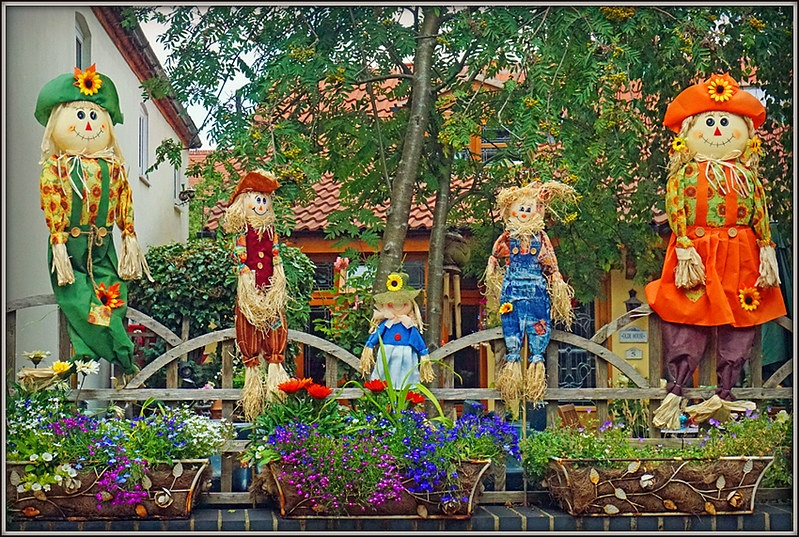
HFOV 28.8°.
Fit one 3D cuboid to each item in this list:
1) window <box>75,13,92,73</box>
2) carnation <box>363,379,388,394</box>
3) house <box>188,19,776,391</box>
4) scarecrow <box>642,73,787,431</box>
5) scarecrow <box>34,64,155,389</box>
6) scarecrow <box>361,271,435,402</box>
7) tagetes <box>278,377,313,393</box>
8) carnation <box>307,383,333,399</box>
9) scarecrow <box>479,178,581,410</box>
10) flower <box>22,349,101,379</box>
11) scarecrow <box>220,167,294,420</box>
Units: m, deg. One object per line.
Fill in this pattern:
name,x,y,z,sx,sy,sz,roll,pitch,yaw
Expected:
window,-3.582,-2.558,17.593,0.163,0.529,0.446,1,-7,-9
carnation,-0.233,1.113,14.814,0.206,0.135,0.259,0,-6,-3
house,0.875,-0.743,16.036,5.131,2.329,2.579,0,0,-1
scarecrow,3.054,-0.166,15.208,1.235,3.422,0.593,-1,-7,10
scarecrow,-3.002,-0.480,15.004,1.060,2.959,0.521,2,-7,-15
scarecrow,-0.026,0.599,15.183,0.716,1.147,0.368,0,-7,0
tagetes,-1.023,1.087,14.614,0.202,0.085,0.194,-3,-1,-40
carnation,-0.720,1.153,14.665,0.212,0.147,0.321,-3,-7,27
scarecrow,1.265,0.215,15.219,0.856,2.187,0.459,0,-7,1
flower,-3.209,0.938,14.912,0.575,0.248,0.326,1,-7,-7
scarecrow,-1.388,0.240,15.047,0.393,2.400,0.597,-6,-9,42
